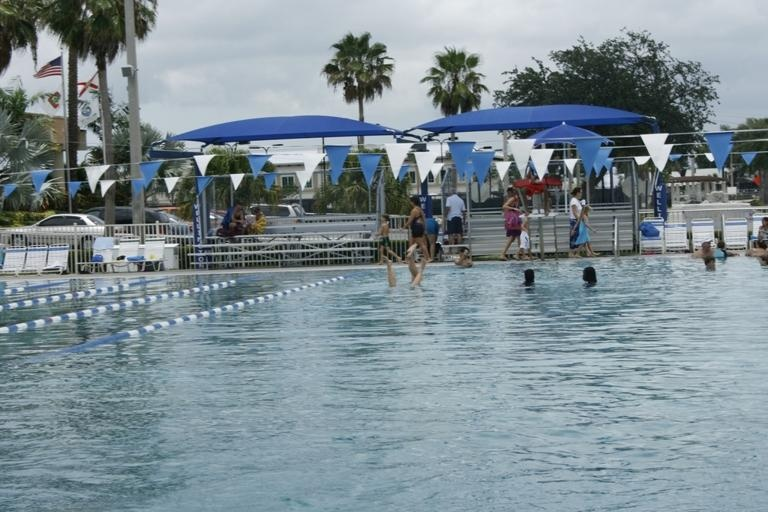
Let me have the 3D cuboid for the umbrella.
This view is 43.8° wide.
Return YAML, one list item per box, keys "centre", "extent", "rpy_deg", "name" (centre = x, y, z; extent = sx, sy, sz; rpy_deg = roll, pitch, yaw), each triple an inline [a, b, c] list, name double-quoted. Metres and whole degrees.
- centre: [5.586, -2.631, 29.007]
  extent: [3.757, 2.405, 3.600]
  rpy_deg: [-1, 0, -2]
  name: "umbrella"

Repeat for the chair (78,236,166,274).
- centre: [-8.186, -0.101, 30.015]
  extent: [2.678, 1.135, 1.091]
  rpy_deg: [0, 6, 21]
  name: "chair"

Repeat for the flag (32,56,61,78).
- centre: [-16.503, -9.386, 47.173]
  extent: [0.731, 0.975, 1.201]
  rpy_deg: [-1, 5, 18]
  name: "flag"
